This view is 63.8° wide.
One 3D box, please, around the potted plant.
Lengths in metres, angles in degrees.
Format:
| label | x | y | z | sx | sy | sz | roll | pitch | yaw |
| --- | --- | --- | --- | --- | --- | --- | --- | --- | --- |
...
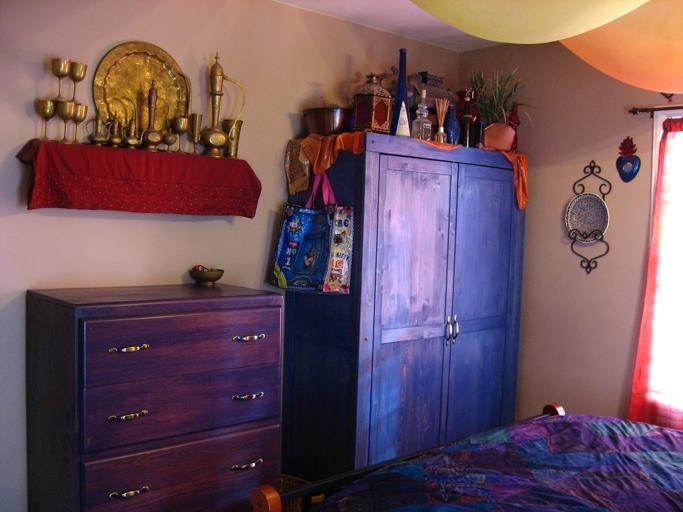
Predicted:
| label | x | y | z | sx | sy | sz | roll | pitch | yaw |
| --- | --- | --- | --- | --- | --- | --- | --- | --- | --- |
| potted plant | 1.135 | -1.025 | 3.893 | 0.310 | 0.602 | 0.344 | 22 | 9 | 1 |

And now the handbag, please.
| label | x | y | z | sx | sy | sz | roll | pitch | yaw |
| --- | --- | --- | --- | --- | --- | --- | --- | --- | --- |
| handbag | -0.172 | -0.048 | 3.224 | 0.529 | 0.528 | 0.175 | 1 | 3 | 43 |

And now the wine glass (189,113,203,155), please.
| label | x | y | z | sx | sy | sz | roll | pitch | yaw |
| --- | --- | --- | --- | --- | --- | --- | --- | --- | --- |
| wine glass | -0.834 | -0.698 | 3.144 | 0.067 | 0.215 | 0.110 | -2 | 3 | -15 |

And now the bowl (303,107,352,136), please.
| label | x | y | z | sx | sy | sz | roll | pitch | yaw |
| --- | --- | --- | --- | --- | --- | --- | --- | --- | --- |
| bowl | -0.082 | -0.822 | 3.334 | 0.221 | 0.096 | 0.216 | -1 | 5 | 0 |

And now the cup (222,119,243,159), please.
| label | x | y | z | sx | sy | sz | roll | pitch | yaw |
| --- | --- | --- | --- | --- | --- | --- | --- | --- | --- |
| cup | -0.645 | -0.690 | 3.226 | 0.112 | 0.228 | 0.080 | -2 | 3 | -9 |

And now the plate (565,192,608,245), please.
| label | x | y | z | sx | sy | sz | roll | pitch | yaw |
| --- | --- | --- | --- | --- | --- | --- | --- | --- | --- |
| plate | 1.676 | -0.251 | 3.743 | 0.284 | 0.352 | 0.027 | 1 | 3 | 41 |

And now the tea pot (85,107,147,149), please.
| label | x | y | z | sx | sy | sz | roll | pitch | yaw |
| --- | --- | --- | --- | --- | --- | --- | --- | --- | --- |
| tea pot | -1.193 | -0.671 | 2.907 | 0.287 | 0.206 | 0.113 | -3 | 3 | -26 |
